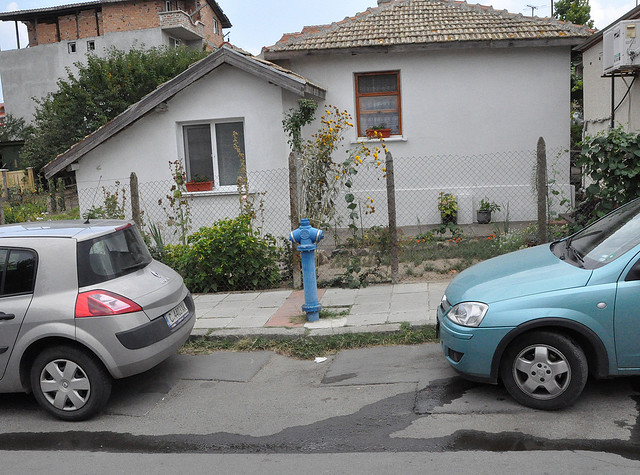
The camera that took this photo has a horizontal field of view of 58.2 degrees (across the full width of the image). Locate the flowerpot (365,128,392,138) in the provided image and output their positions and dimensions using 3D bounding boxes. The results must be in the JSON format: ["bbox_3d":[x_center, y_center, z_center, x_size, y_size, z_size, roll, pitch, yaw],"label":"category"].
[{"bbox_3d":[1.621,-2.852,15.684,0.781,0.275,0.563,0,3,3],"label":"flowerpot"}]

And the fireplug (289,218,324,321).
[{"bbox_3d":[-0.171,0.453,8.131,0.476,1.447,0.342,-4,13,-2],"label":"fireplug"}]

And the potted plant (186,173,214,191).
[{"bbox_3d":[-2.870,-1.300,13.700,0.510,0.232,0.386,1,-4,-3],"label":"potted plant"}]

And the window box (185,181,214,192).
[{"bbox_3d":[-2.896,-1.194,13.634,0.653,0.213,0.123,-4,13,0],"label":"window box"}]

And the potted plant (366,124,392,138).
[{"bbox_3d":[1.610,-2.874,15.644,0.847,0.304,0.605,-2,16,0],"label":"potted plant"}]

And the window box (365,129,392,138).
[{"bbox_3d":[1.576,-2.788,15.435,0.709,0.272,0.680,7,9,28],"label":"window box"}]

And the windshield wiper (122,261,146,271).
[{"bbox_3d":[-2.141,0.347,6.622,0.059,0.081,0.405,2,15,20],"label":"windshield wiper"}]

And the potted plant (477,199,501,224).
[{"bbox_3d":[4.449,-0.663,15.360,0.622,0.605,0.507,0,3,-15],"label":"potted plant"}]
